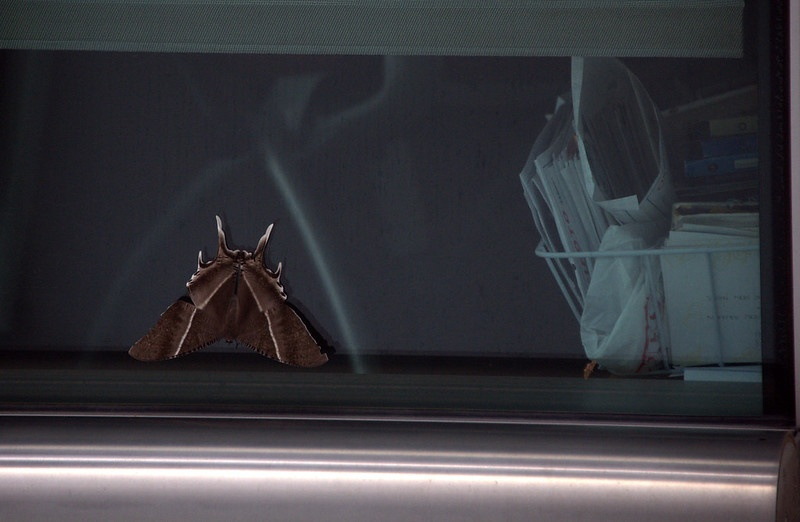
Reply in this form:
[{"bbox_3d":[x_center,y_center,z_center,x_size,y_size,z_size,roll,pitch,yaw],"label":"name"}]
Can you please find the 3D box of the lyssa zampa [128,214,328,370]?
[{"bbox_3d":[-0.342,0.066,1.794,0.420,0.288,0.058,1,7,-29],"label":"lyssa zampa"}]
